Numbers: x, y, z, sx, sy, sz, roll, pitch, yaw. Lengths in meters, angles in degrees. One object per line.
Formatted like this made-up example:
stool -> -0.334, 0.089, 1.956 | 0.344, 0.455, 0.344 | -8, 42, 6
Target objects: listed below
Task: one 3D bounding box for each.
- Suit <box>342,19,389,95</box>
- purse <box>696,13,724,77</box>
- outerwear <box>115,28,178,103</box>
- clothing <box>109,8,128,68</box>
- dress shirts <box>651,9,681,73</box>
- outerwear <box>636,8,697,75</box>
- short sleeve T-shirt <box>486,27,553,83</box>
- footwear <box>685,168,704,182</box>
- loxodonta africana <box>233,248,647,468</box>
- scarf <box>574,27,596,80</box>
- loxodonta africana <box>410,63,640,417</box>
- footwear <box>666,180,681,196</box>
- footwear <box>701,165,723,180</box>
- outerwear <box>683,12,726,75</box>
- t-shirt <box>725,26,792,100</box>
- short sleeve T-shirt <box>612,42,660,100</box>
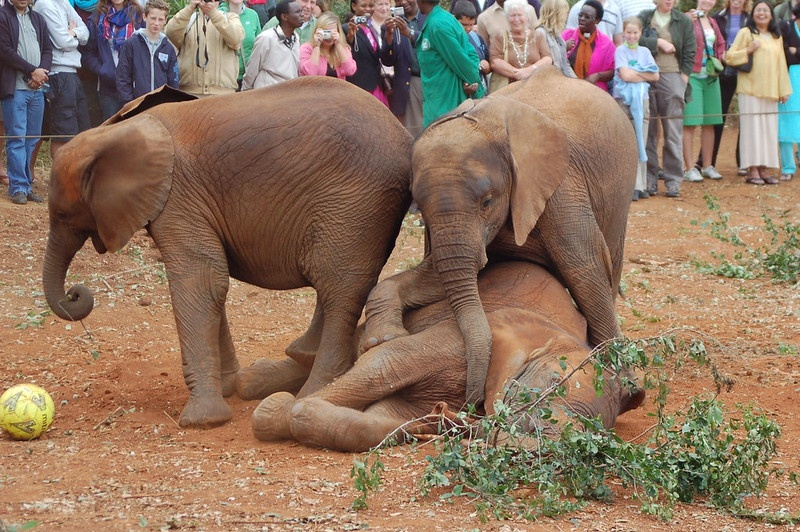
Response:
Suit -> -0.395, -2.489, 11.861 | 0.716, 0.935, 0.317 | -4, 22, -15
purse -> 4.608, -3.208, 14.305 | 0.571, 0.790, 0.251 | -13, 14, -14
outerwear -> -2.885, -2.200, 11.130 | 0.722, 0.943, 0.366 | -5, 13, -33
clothing -> -3.276, -2.719, 11.656 | 0.361, 0.615, 0.162 | -7, -10, 37
dress shirts -> 3.717, -3.088, 13.539 | 0.475, 0.723, 0.754 | -3, 4, 4
outerwear -> 3.683, -3.077, 13.430 | 1.035, 1.059, 0.591 | -1, 4, -6
short sleeve T-shirt -> 1.543, -2.562, 12.281 | 0.758, 0.812, 0.487 | -4, 35, -1
footwear -> 4.584, -1.403, 15.061 | 0.164, 0.135, 0.318 | -3, 7, -7
loxodonta africana -> 0.328, 0.617, 7.039 | 2.556, 1.116, 0.994 | -1, 13, 3
scarf -> 2.541, -2.843, 12.927 | 0.251, 0.684, 0.108 | 8, -35, -11
loxodonta africana -> 1.065, -0.274, 7.899 | 1.344, 2.482, 2.928 | -4, 8, 34
footwear -> 3.972, -1.105, 14.051 | 0.129, 0.145, 0.328 | 2, 9, 11
footwear -> 4.946, -1.464, 15.296 | 0.172, 0.141, 0.327 | -6, 11, -19
outerwear -> 4.421, -3.198, 14.103 | 0.871, 0.992, 0.567 | -14, 18, -39
t-shirt -> 5.398, -3.024, 14.426 | 1.087, 1.077, 0.569 | 0, 6, -5
short sleeve T-shirt -> 3.116, -2.622, 13.028 | 0.670, 0.663, 0.275 | 4, 10, 6
